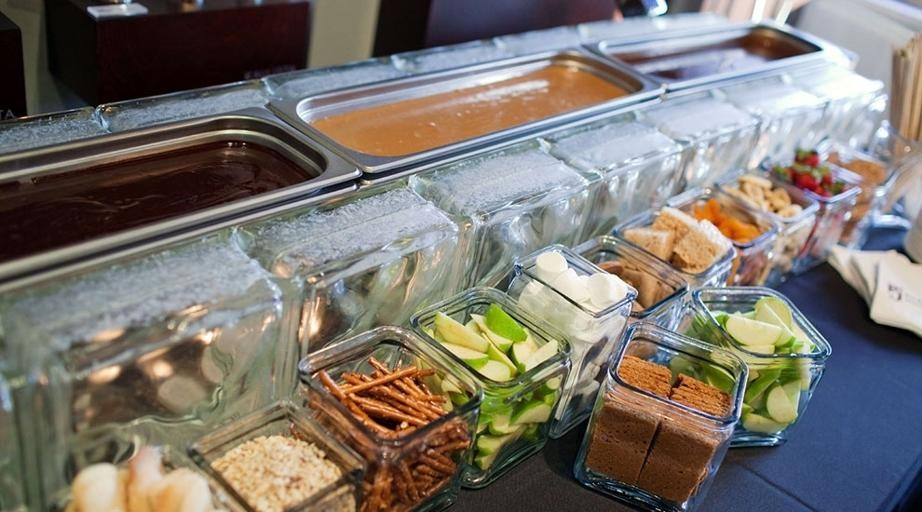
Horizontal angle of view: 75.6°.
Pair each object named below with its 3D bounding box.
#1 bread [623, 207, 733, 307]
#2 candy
[{"bbox_3d":[0.566,-0.007,1.679,0.213,0.121,0.272,-27,56,-34],"label":"bread"},{"bbox_3d":[0.247,0.152,1.396,0.215,0.453,0.210,2,0,1],"label":"candy"}]
